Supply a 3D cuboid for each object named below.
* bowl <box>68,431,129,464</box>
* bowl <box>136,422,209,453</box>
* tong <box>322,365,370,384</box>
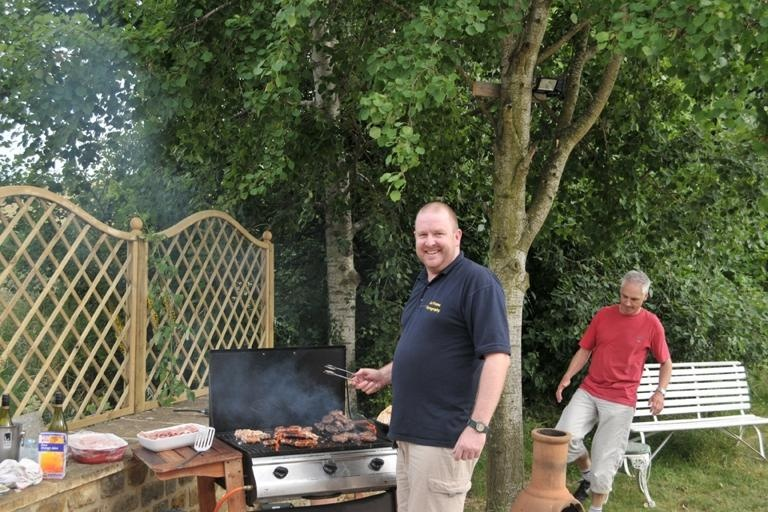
[{"bbox_3d":[-2.327,1.544,5.883,0.462,0.154,0.472,7,1,0],"label":"bowl"},{"bbox_3d":[-1.673,1.423,5.826,0.744,0.165,0.548,7,-5,-37],"label":"bowl"},{"bbox_3d":[-0.322,1.012,6.213,0.438,0.122,0.049,25,-21,-31],"label":"tong"}]
